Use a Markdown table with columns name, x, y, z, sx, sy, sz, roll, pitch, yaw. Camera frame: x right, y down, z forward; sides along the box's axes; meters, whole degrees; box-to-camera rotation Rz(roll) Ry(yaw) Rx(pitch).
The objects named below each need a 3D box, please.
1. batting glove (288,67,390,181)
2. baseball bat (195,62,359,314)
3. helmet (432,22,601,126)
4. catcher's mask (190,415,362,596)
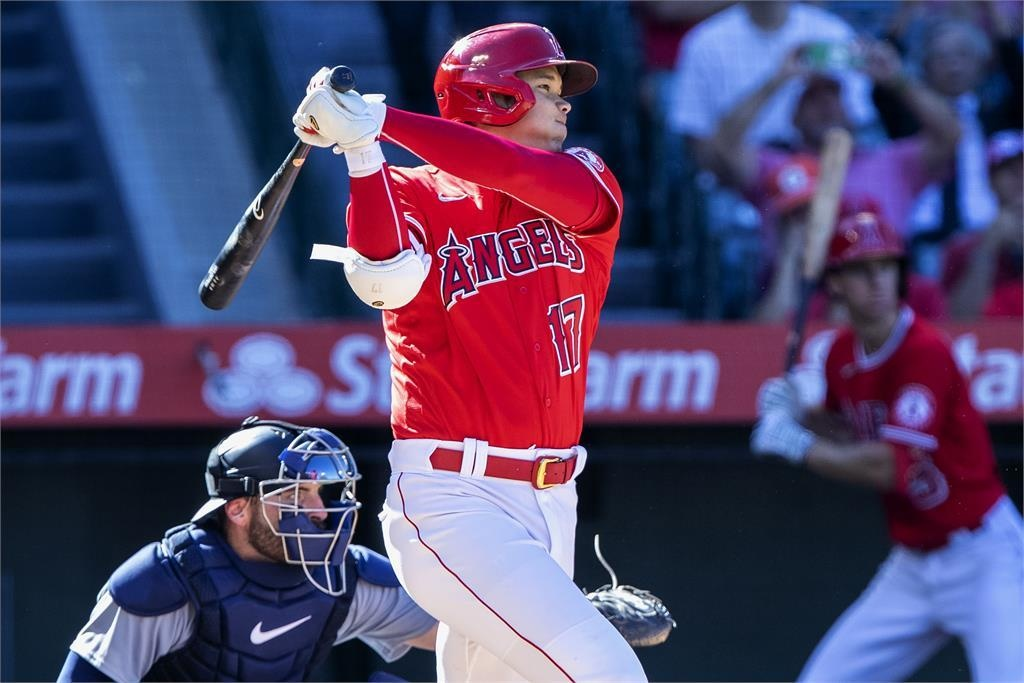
| name | x | y | z | sx | sy | sz | roll | pitch | yaw |
| --- | --- | --- | --- | --- | --- | --- | --- | --- | --- |
| batting glove | -0.563 | -0.723 | 6.009 | 0.299 | 0.352 | 0.135 | -1 | 12 | -5 |
| baseball bat | -0.942 | -0.651 | 7.229 | 0.200 | 1.253 | 0.147 | 35 | 7 | 1 |
| helmet | 0.023 | -0.936 | 6.399 | 0.538 | 0.302 | 0.357 | -5 | -1 | 4 |
| catcher's mask | -0.786 | 0.567 | 6.455 | 0.691 | 0.617 | 0.485 | -2 | -2 | 24 |
